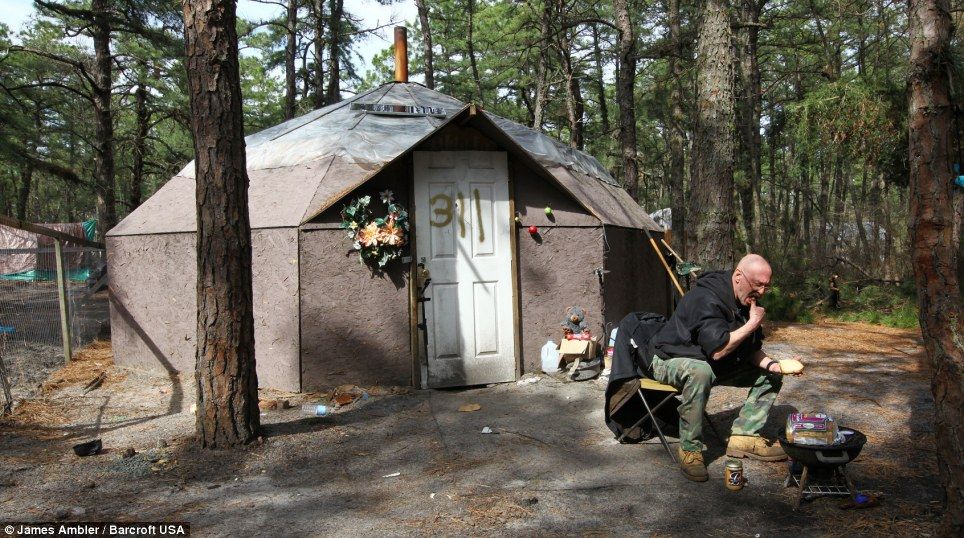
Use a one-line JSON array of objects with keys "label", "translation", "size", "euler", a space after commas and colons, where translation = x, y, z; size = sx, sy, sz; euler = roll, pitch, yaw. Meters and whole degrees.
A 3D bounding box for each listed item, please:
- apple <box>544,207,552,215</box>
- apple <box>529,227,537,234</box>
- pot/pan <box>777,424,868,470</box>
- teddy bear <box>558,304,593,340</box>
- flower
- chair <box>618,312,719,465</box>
[{"label": "apple", "translation": [1.433, -1.271, 16.917], "size": [0.142, 0.089, 0.153], "euler": [2, 0, -12]}, {"label": "apple", "translation": [1.104, -0.846, 16.823], "size": [0.162, 0.150, 0.156], "euler": [-1, 0, -7]}, {"label": "pot/pan", "translation": [5.611, 2.942, 12.905], "size": [0.906, 0.248, 0.993], "euler": [-1, 3, 8]}, {"label": "teddy bear", "translation": [1.980, 1.198, 16.898], "size": [0.881, 1.075, 0.601], "euler": [0, -11, 3]}, {"label": "flower", "translation": [-2.146, -0.860, 16.281], "size": [1.521, 1.524, 0.423], "euler": [-26, -5, -9]}, {"label": "chair", "translation": [3.093, 1.961, 14.126], "size": [1.628, 2.154, 1.619], "euler": [-1, 10, -44]}]
